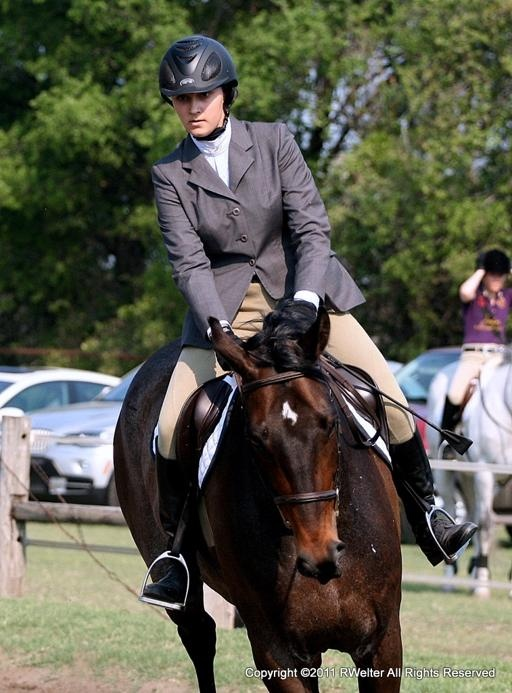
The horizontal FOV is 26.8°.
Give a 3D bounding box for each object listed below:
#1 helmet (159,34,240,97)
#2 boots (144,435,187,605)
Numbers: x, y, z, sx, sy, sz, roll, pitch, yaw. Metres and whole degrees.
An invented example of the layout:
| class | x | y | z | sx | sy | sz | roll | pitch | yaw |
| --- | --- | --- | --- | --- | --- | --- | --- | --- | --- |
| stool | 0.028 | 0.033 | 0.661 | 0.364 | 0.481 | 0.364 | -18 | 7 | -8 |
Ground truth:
| class | x | y | z | sx | sy | sz | roll | pitch | yaw |
| --- | --- | --- | --- | --- | --- | --- | --- | --- | --- |
| helmet | -0.259 | -1.308 | 4.545 | 0.320 | 0.201 | 0.416 | -1 | 25 | 10 |
| boots | -0.371 | 0.760 | 4.637 | 0.187 | 0.712 | 0.164 | 6 | -7 | -2 |
